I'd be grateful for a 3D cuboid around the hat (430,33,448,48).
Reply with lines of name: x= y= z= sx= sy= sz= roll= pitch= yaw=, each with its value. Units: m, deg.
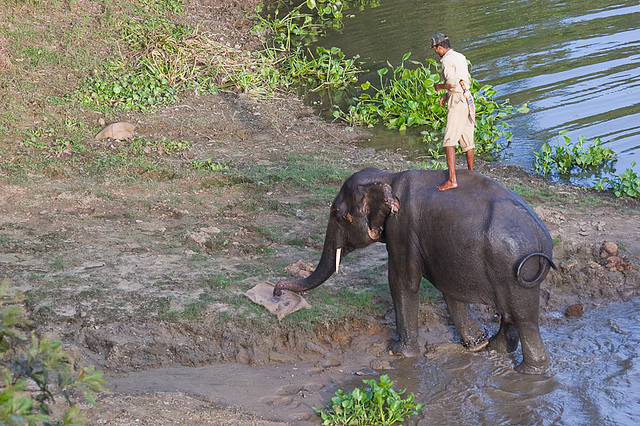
hat: x=1.841 y=-2.737 z=13.420 sx=0.239 sy=0.220 sz=0.492 roll=-6 pitch=18 yaw=9
